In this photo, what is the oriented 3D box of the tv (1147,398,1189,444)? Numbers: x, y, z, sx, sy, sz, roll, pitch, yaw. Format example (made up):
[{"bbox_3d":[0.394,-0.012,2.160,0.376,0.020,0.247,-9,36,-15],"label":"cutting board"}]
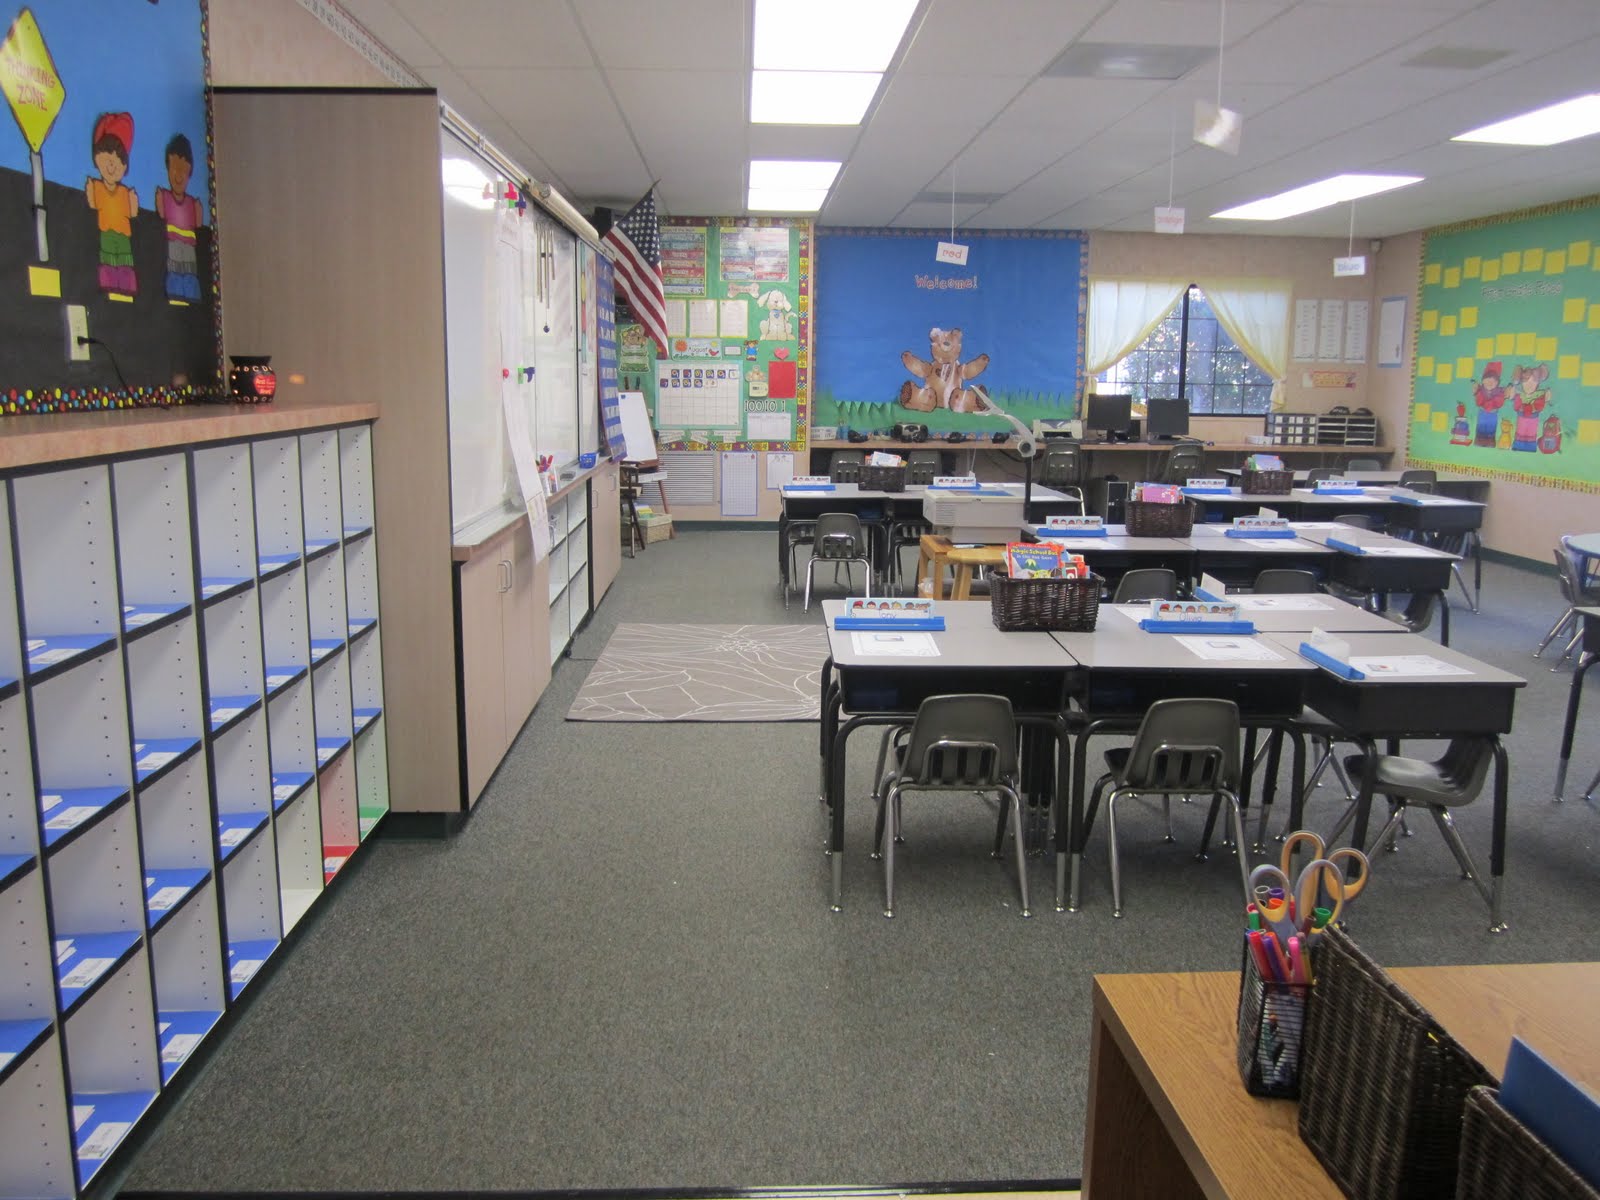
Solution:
[{"bbox_3d":[3.970,-1.914,12.602,0.475,0.487,0.162,0,13,4],"label":"tv"}]

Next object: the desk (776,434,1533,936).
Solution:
[{"bbox_3d":[1.333,0.467,4.755,2.487,1.120,1.314,1,11,2],"label":"desk"}]

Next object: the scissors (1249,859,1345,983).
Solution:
[{"bbox_3d":[0.871,0.572,2.077,0.149,0.227,0.136,22,-8,-40],"label":"scissors"}]

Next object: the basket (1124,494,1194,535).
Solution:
[{"bbox_3d":[2.057,-0.456,6.557,0.228,0.149,0.233,0,3,2],"label":"basket"}]

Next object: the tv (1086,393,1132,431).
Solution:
[{"bbox_3d":[3.299,-1.978,12.458,0.370,0.399,0.135,2,17,8],"label":"tv"}]

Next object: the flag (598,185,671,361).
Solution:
[{"bbox_3d":[-1.523,-3.048,10.611,0.870,0.116,1.883,17,-33,-2],"label":"flag"}]

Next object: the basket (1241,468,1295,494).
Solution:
[{"bbox_3d":[3.413,-0.852,8.518,0.216,0.150,0.234,1,5,7],"label":"basket"}]
